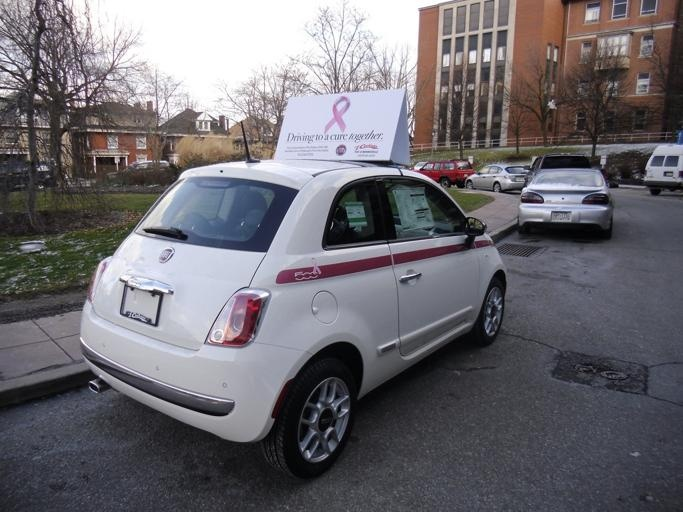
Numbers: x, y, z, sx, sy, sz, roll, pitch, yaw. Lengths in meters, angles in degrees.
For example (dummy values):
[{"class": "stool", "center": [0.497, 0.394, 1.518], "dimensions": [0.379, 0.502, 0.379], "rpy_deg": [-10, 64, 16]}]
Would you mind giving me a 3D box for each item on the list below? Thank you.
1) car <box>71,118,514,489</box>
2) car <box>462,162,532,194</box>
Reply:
[{"class": "car", "center": [-0.248, 0.296, 3.380], "dimensions": [3.466, 2.214, 1.541], "rpy_deg": [-10, 16, -38]}, {"class": "car", "center": [10.947, -5.562, 27.256], "dimensions": [1.891, 1.684, 4.411], "rpy_deg": [-5, 14, -21]}]
